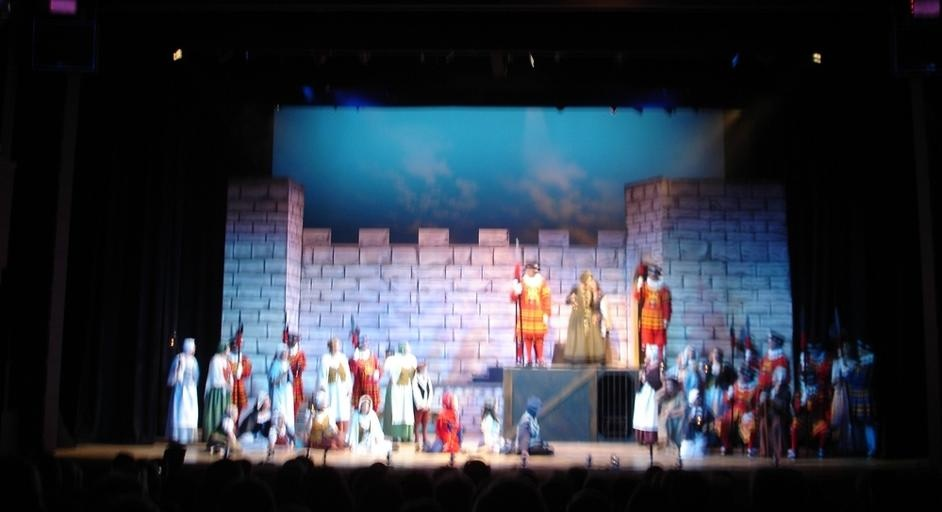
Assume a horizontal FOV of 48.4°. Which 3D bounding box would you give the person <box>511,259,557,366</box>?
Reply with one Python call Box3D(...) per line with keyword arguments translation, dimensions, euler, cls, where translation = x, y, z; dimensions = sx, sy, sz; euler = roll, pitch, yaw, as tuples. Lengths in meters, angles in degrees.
Box3D(translation=(0.940, 0.886, 16.092), dimensions=(0.590, 1.587, 0.486), euler=(-1, -8, 3), cls="person")
